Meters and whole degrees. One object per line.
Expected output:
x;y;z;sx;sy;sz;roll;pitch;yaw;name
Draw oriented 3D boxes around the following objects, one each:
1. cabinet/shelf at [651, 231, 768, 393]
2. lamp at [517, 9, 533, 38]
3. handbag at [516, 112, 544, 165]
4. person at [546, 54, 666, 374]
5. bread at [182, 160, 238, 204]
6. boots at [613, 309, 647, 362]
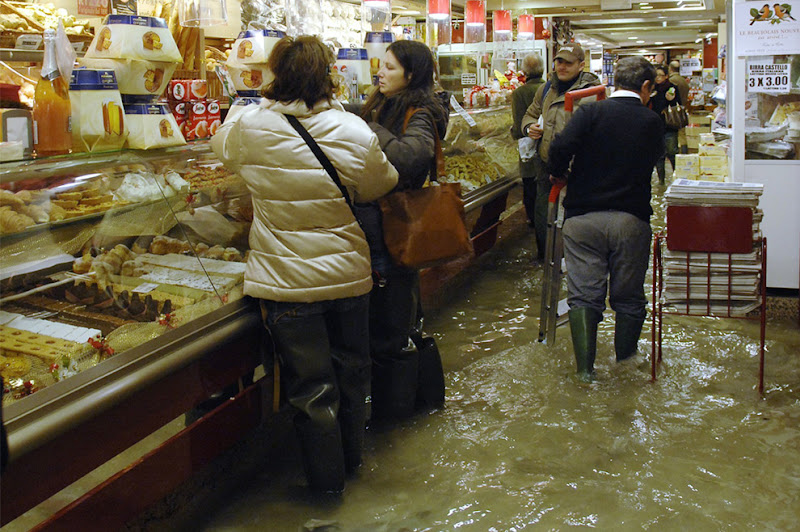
1.861;0.238;3.269;0.674;0.958;0.513;8;17;29;cabinet/shelf
2.496;-4.649;10.858;0.278;0.522;0.648;2;15;8;lamp
1.085;-1.093;4.856;0.128;0.322;0.341;22;33;38;handbag
1.224;-0.181;3.368;0.644;1.680;0.399;3;15;11;person
-0.909;-0.386;2.613;0.168;0.062;0.214;-11;33;-24;bread
1.461;0.447;3.478;0.161;0.298;0.331;10;-14;34;boots
